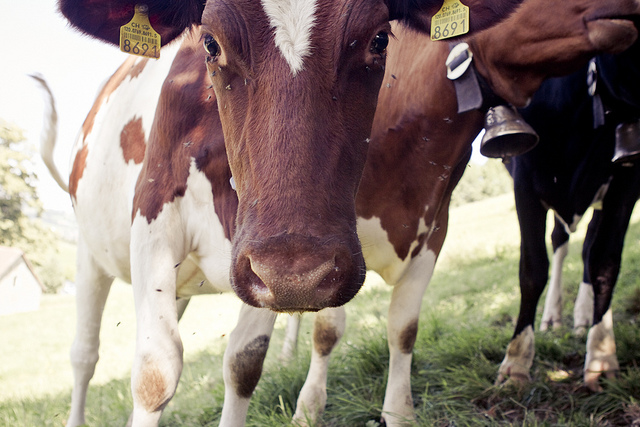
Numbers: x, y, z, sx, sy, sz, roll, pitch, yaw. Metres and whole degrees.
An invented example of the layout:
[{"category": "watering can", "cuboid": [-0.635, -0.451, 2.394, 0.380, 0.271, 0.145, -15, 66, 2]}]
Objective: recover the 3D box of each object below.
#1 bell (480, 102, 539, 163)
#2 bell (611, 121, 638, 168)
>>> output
[{"category": "bell", "cuboid": [1.507, -0.790, 6.283, 0.413, 0.487, 0.418, -24, -55, 35]}, {"category": "bell", "cuboid": [2.646, -0.596, 6.411, 0.292, 0.371, 0.304, -1, 2, -16]}]
